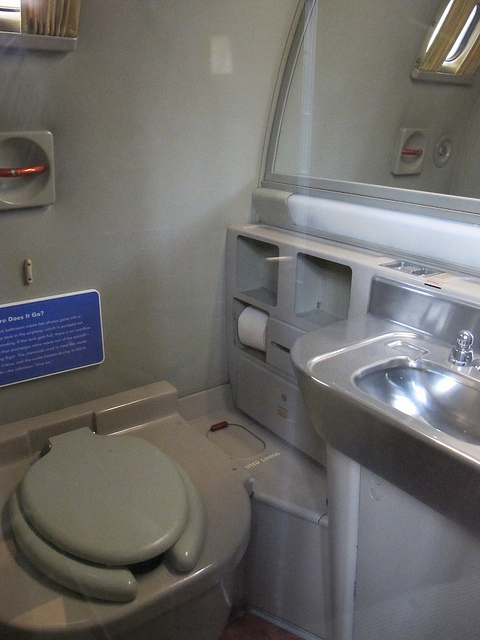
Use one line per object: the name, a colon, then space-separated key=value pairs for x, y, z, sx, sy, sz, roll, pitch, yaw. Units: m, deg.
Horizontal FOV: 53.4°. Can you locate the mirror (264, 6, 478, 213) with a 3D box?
mirror: x=0.237 y=-0.421 z=0.932 sx=0.258 sy=0.293 sz=0.471 roll=6 pitch=11 yaw=-41

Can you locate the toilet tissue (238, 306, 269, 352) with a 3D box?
toilet tissue: x=0.041 y=0.023 z=1.420 sx=0.039 sy=0.086 sz=0.149 roll=6 pitch=11 yaw=-32
